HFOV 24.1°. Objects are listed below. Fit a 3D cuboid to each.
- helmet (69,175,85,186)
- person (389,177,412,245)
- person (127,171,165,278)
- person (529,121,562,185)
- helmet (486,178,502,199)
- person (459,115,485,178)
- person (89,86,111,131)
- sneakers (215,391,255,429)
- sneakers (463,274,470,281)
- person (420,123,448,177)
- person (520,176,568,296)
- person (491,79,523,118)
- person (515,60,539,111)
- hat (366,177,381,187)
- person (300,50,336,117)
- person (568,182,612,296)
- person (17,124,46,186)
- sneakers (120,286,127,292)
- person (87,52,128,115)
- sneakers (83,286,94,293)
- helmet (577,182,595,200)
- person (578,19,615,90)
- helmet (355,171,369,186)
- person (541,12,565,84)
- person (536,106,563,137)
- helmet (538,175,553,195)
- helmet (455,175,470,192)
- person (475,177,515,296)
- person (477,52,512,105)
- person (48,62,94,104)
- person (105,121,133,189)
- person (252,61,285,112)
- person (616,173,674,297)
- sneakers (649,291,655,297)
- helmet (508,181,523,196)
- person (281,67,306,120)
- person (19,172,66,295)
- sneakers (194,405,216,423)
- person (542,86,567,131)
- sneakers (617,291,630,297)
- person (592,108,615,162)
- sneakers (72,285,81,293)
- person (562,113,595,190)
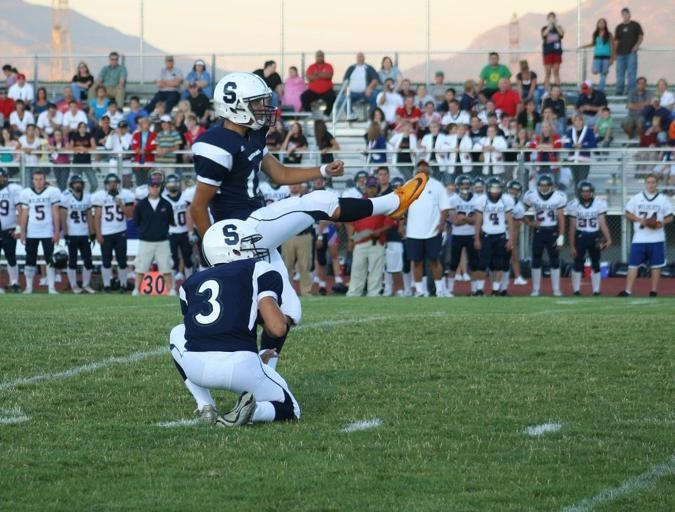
[{"bbox_3d":[-4.356,-1.258,26.139,0.204,0.174,0.163,-8,-1,35],"label":"helmet"},{"bbox_3d":[0.949,-0.696,24.957,0.300,0.907,0.351,13,4,42],"label":"person"},{"bbox_3d":[-2.968,-0.445,25.239,0.610,1.607,0.579,-2,14,-3],"label":"person"},{"bbox_3d":[3.440,-1.700,26.144,0.500,0.862,0.858,1,15,8],"label":"person"},{"bbox_3d":[2.465,-1.063,24.963,0.235,0.320,0.311,-3,0,5],"label":"helmet"},{"bbox_3d":[2.274,-1.965,26.584,0.279,0.955,0.312,-17,44,-19],"label":"person"},{"bbox_3d":[-4.427,-2.717,28.894,0.515,0.767,0.498,2,-6,-15],"label":"person"},{"bbox_3d":[-1.112,1.719,17.506,0.496,0.207,0.254,-40,54,-16],"label":"sneakers"},{"bbox_3d":[2.137,0.358,26.261,0.156,0.054,0.118,-3,-20,17],"label":"sneakers"},{"bbox_3d":[1.608,-1.729,26.515,0.386,1.108,0.362,0,36,6],"label":"person"},{"bbox_3d":[3.327,-0.331,25.309,0.664,1.890,0.584,1,15,8],"label":"person"},{"bbox_3d":[2.973,-2.787,27.905,0.567,0.745,0.392,9,30,28],"label":"person"},{"bbox_3d":[3.428,-3.001,28.647,0.417,1.107,0.690,0,14,21],"label":"person"},{"bbox_3d":[0.524,-1.140,24.374,0.204,0.151,0.336,1,0,-2],"label":"hat"},{"bbox_3d":[-0.348,-3.175,29.094,0.613,1.238,0.689,4,8,31],"label":"person"},{"bbox_3d":[3.992,-0.273,25.163,0.654,1.743,0.590,1,15,8],"label":"person"},{"bbox_3d":[-5.283,-1.612,27.120,0.369,1.232,0.422,-1,4,40],"label":"person"},{"bbox_3d":[-3.531,0.541,25.959,0.127,0.075,0.133,2,9,3],"label":"sneakers"},{"bbox_3d":[-4.333,-3.210,29.612,0.801,1.241,0.756,1,2,-36],"label":"person"},{"bbox_3d":[-4.103,0.559,26.093,0.250,0.109,0.085,12,18,30],"label":"sneakers"},{"bbox_3d":[3.946,-1.023,25.129,0.221,0.270,0.285,-3,4,7],"label":"helmet"},{"bbox_3d":[4.901,-3.721,29.257,0.415,1.292,0.872,1,15,9],"label":"person"},{"bbox_3d":[0.363,-1.232,25.229,0.180,0.240,0.235,10,2,-1],"label":"helmet"},{"bbox_3d":[3.907,-3.753,28.781,0.385,1.347,0.795,1,15,7],"label":"person"},{"bbox_3d":[3.579,-2.240,26.694,0.317,0.526,0.887,-2,7,16],"label":"person"},{"bbox_3d":[3.303,-1.120,25.192,0.219,0.288,0.295,-1,7,10],"label":"helmet"},{"bbox_3d":[2.002,-1.151,25.225,0.213,0.248,0.249,1,-4,-1],"label":"helmet"},{"bbox_3d":[2.464,-0.273,25.015,0.647,1.841,0.539,-1,14,3],"label":"person"},{"bbox_3d":[2.836,-3.240,28.532,0.689,0.846,0.532,-2,18,3],"label":"person"},{"bbox_3d":[-4.873,-3.205,29.826,0.383,0.898,0.454,6,7,28],"label":"person"},{"bbox_3d":[-3.697,-1.551,26.698,0.452,1.510,0.439,-4,-4,13],"label":"person"},{"bbox_3d":[-1.337,-3.088,29.338,0.598,1.053,0.593,3,25,-17],"label":"person"},{"bbox_3d":[4.874,-0.290,24.836,0.708,1.904,0.765,2,15,10],"label":"person"},{"bbox_3d":[4.928,0.594,24.754,0.066,0.087,0.220,2,-3,14],"label":"sneakers"},{"bbox_3d":[2.834,-1.076,25.328,0.236,0.284,0.277,3,-6,-28],"label":"helmet"},{"bbox_3d":[-0.860,-3.092,29.492,0.429,0.850,0.470,-6,-8,24],"label":"person"},{"bbox_3d":[-4.836,-0.373,25.702,0.684,1.957,0.526,-4,15,-11],"label":"person"},{"bbox_3d":[-1.490,1.763,17.631,0.167,0.134,0.310,1,2,-8],"label":"sneakers"},{"bbox_3d":[3.749,-2.431,27.387,0.461,1.057,0.611,2,0,14],"label":"person"},{"bbox_3d":[4.504,0.605,24.823,0.211,0.092,0.078,-1,14,15],"label":"sneakers"},{"bbox_3d":[4.627,-2.238,27.507,0.310,0.656,0.875,2,15,14],"label":"person"},{"bbox_3d":[-4.324,0.545,26.039,0.091,0.074,0.215,18,-1,-19],"label":"sneakers"},{"bbox_3d":[4.019,-1.746,26.261,0.515,0.983,1.149,1,15,9],"label":"person"}]
